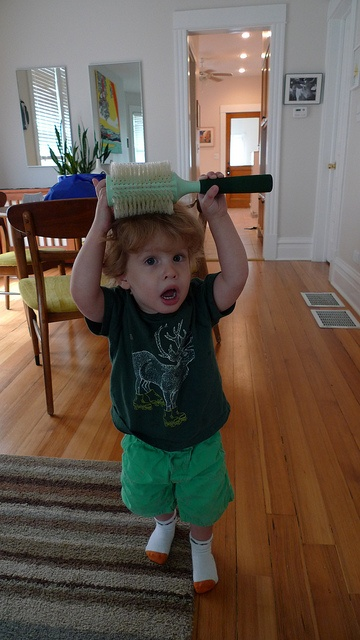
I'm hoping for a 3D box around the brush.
[{"bbox_3d":[0.018,-0.160,0.546,0.229,0.098,0.086,-2,7,-5],"label":"brush"}]

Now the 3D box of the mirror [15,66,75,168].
[{"bbox_3d":[-1.413,-2.133,4.175,0.601,0.941,0.161,1,11,14],"label":"mirror"}]

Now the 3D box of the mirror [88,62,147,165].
[{"bbox_3d":[-0.635,-2.127,4.093,0.536,0.893,0.315,-2,11,0],"label":"mirror"}]
